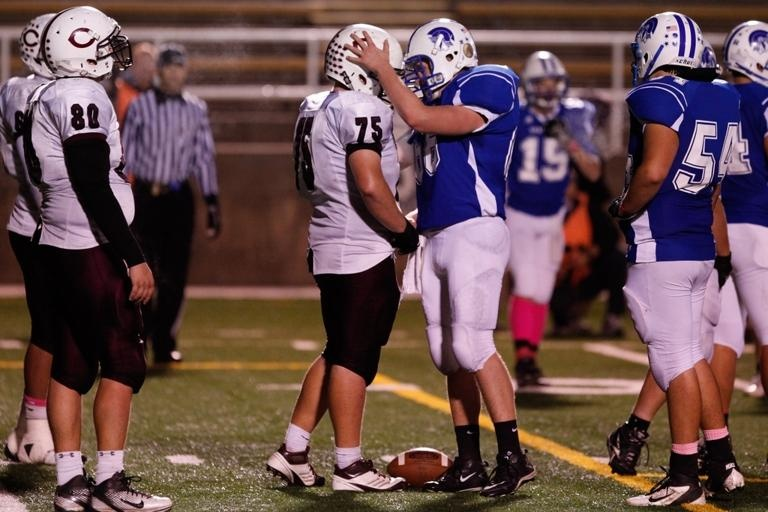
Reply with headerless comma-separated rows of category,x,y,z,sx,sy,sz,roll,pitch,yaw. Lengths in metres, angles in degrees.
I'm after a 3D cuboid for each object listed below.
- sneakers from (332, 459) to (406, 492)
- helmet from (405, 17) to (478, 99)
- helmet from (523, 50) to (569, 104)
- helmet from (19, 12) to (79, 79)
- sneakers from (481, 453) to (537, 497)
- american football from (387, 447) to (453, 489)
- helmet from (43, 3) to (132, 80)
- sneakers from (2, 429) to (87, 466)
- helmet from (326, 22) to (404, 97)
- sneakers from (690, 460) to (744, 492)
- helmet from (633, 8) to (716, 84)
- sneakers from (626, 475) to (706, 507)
sneakers,-0.100,1.119,5.709,0.399,0.166,0.135,1,-1,-6
helmet,0.264,-1.031,5.776,0.435,0.385,0.338,1,12,3
helmet,1.238,-1.380,8.468,0.304,0.320,0.394,-7,26,-10
helmet,-1.697,-1.109,5.808,0.392,0.369,0.330,-7,7,-22
sneakers,0.629,1.083,5.596,0.258,0.230,0.139,4,9,6
american football,0.191,1.089,5.843,0.348,0.212,0.219,2,-4,-4
helmet,-1.509,-1.059,5.514,0.430,0.328,0.322,-6,15,-16
sneakers,-1.935,1.045,6.110,0.564,0.233,0.216,-1,-6,15
helmet,-0.096,-1.005,5.736,0.420,0.318,0.297,7,20,-8
sneakers,1.716,1.104,5.593,0.128,0.139,0.316,-6,-3,8
helmet,1.500,-1.063,5.768,0.337,0.338,0.418,10,25,1
sneakers,1.410,1.153,5.483,0.432,0.161,0.144,0,-8,-1
